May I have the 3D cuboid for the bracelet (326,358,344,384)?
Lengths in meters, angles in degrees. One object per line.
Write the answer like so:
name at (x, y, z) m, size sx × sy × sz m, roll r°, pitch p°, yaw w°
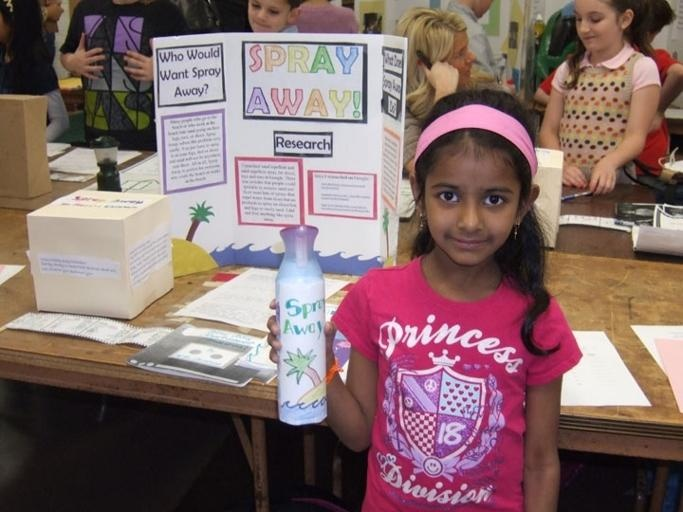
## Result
bracelet at (-0.015, 0.234, 1.264) m, size 0.015 × 0.039 × 0.038 m, roll -13°, pitch -5°, yaw 35°

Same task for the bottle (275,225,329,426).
bottle at (-0.077, 0.130, 1.193) m, size 0.093 × 0.376 × 0.105 m, roll -2°, pitch 19°, yaw -2°

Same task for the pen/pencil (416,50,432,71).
pen/pencil at (0.354, -0.828, 2.611) m, size 0.030 × 0.107 × 0.028 m, roll -42°, pitch -1°, yaw -6°
